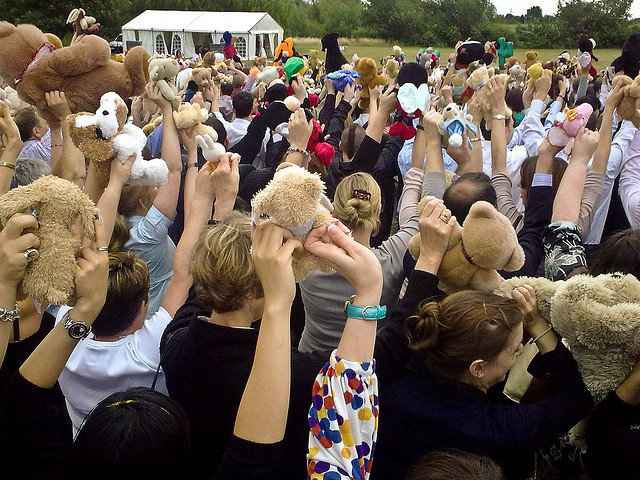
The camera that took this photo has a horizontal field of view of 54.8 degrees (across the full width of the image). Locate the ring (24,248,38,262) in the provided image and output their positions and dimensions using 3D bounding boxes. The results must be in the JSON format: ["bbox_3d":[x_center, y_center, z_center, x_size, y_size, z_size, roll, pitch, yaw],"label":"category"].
[{"bbox_3d":[-1.262,0.065,2.693,0.049,0.049,0.014,12,-5,-20],"label":"ring"}]

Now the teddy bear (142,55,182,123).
[{"bbox_3d":[-1.089,-1.050,4.224,0.319,0.413,0.315,-10,8,-31],"label":"teddy bear"}]

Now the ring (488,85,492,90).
[{"bbox_3d":[1.189,-1.071,4.322,0.009,0.036,0.036,12,4,-16],"label":"ring"}]

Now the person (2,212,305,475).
[{"bbox_3d":[-0.733,0.320,2.916,0.869,0.560,1.495,0,53,5],"label":"person"}]

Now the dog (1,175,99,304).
[{"bbox_3d":[-1.234,-0.015,2.809,0.378,0.510,0.334,9,18,23],"label":"dog"}]

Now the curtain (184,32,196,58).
[{"bbox_3d":[-6.173,-9.175,28.967,0.491,1.099,0.785,2,16,-2],"label":"curtain"}]

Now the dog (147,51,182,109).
[{"bbox_3d":[-1.098,-1.117,4.337,0.212,0.350,0.505,-2,17,-14],"label":"dog"}]

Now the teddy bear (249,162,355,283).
[{"bbox_3d":[-0.078,-0.058,2.657,0.413,0.509,0.212,3,16,2],"label":"teddy bear"}]

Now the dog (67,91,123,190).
[{"bbox_3d":[-1.279,-0.549,3.472,0.295,0.544,0.245,1,16,-4],"label":"dog"}]

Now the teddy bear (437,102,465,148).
[{"bbox_3d":[0.894,-0.765,4.159,0.214,0.126,0.364,-11,58,13],"label":"teddy bear"}]

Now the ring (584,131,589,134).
[{"bbox_3d":[1.563,-0.633,3.623,0.025,0.013,0.013,18,22,42],"label":"ring"}]

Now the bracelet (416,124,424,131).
[{"bbox_3d":[0.704,-0.798,4.362,0.043,0.012,0.028,26,8,37],"label":"bracelet"}]

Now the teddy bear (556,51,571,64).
[{"bbox_3d":[4.417,-3.313,11.207,0.137,0.218,1.255,8,17,18],"label":"teddy bear"}]

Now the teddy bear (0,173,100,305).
[{"bbox_3d":[-1.212,0.019,2.764,0.492,0.290,0.603,12,52,-30],"label":"teddy bear"}]

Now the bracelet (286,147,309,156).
[{"bbox_3d":[-0.154,-0.600,4.137,0.125,0.055,0.147,1,17,-7],"label":"bracelet"}]

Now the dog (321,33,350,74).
[{"bbox_3d":[0.145,-1.988,6.573,0.248,0.416,0.454,1,16,-5],"label":"dog"}]

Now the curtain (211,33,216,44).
[{"bbox_3d":[-4.946,-9.360,28.551,0.211,0.405,0.571,-1,17,-12],"label":"curtain"}]

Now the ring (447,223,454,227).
[{"bbox_3d":[0.634,-0.073,2.992,0.017,0.022,0.042,17,22,41],"label":"ring"}]

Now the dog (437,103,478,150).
[{"bbox_3d":[0.917,-0.744,4.174,0.233,0.352,0.201,-12,-30,21],"label":"dog"}]

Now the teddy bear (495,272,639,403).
[{"bbox_3d":[1.257,0.352,2.977,0.486,0.654,0.353,2,13,14],"label":"teddy bear"}]

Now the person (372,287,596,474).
[{"bbox_3d":[0.735,0.634,2.789,0.410,0.363,0.728,-23,-13,-23],"label":"person"}]

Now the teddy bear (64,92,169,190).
[{"bbox_3d":[-1.180,-0.563,3.562,0.492,0.557,0.448,-21,38,-26],"label":"teddy bear"}]

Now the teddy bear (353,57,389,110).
[{"bbox_3d":[0.483,-1.555,6.142,0.331,0.492,0.537,3,16,3],"label":"teddy bear"}]

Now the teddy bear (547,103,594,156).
[{"bbox_3d":[1.576,-0.709,3.932,0.229,0.298,0.639,9,18,22],"label":"teddy bear"}]
